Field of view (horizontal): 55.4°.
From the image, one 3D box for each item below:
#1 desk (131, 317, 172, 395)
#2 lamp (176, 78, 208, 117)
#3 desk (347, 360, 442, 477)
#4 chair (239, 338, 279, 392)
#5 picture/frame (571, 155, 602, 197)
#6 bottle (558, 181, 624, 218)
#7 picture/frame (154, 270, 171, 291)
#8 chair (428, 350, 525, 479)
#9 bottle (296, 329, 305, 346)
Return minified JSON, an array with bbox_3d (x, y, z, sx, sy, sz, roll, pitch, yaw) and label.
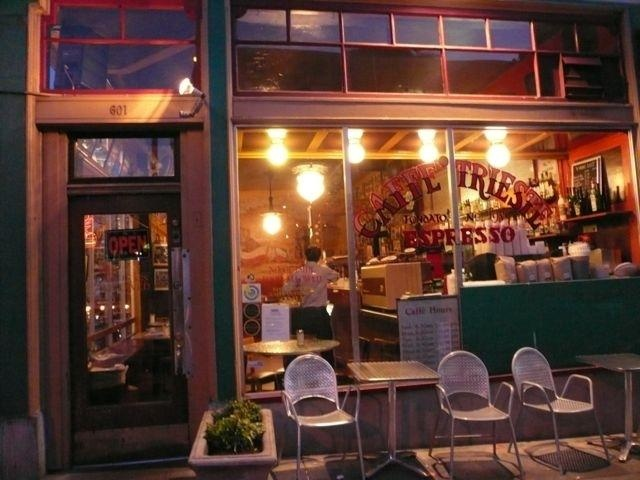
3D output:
[{"bbox_3d":[-1.966,1.393,7.166,0.466,0.823,0.878,0,1,-4],"label":"desk"},{"bbox_3d":[-1.477,-1.676,7.063,0.327,0.531,0.501,-3,-3,-13],"label":"lamp"},{"bbox_3d":[0.819,1.972,6.816,1.049,1.088,1.067,0,-6,3],"label":"desk"},{"bbox_3d":[-0.714,1.571,7.148,0.397,0.502,0.378,-5,12,35],"label":"chair"},{"bbox_3d":[3.664,-0.862,8.339,0.037,0.494,0.542,-4,7,-20],"label":"picture/frame"},{"bbox_3d":[3.701,-0.539,8.242,0.156,0.439,0.448,9,-10,-35],"label":"bottle"},{"bbox_3d":[-1.872,0.468,7.210,0.228,0.324,0.031,2,-3,-7],"label":"picture/frame"},{"bbox_3d":[1.720,1.897,6.865,1.038,1.261,1.060,-5,-3,9],"label":"chair"},{"bbox_3d":[-0.234,1.161,7.177,0.123,0.210,0.125,0,-1,0],"label":"bottle"}]
